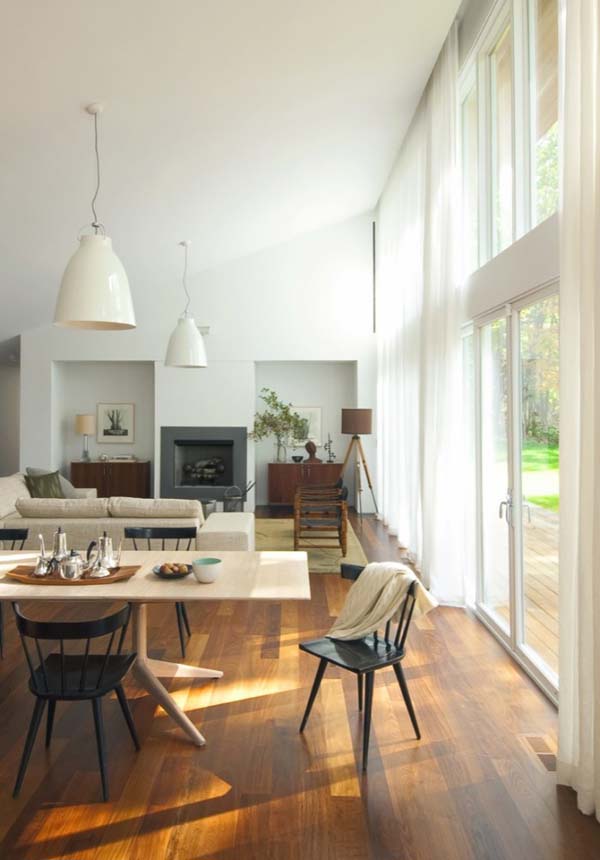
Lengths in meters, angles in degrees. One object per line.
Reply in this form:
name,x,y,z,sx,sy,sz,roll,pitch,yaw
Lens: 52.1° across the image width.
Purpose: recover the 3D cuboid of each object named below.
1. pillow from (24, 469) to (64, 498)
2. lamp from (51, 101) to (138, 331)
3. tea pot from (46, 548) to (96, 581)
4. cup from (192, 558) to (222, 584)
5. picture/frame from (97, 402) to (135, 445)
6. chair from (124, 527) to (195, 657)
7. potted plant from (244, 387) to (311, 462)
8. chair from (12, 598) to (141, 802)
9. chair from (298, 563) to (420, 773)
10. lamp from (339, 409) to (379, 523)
pillow,-2.686,0.623,6.502,0.092,0.344,0.292,-35,-30,29
lamp,-1.140,-1.235,3.537,0.312,1.574,2.114,0,0,-17
tea pot,-1.035,0.605,2.749,0.128,0.108,0.115,0,-5,2
cup,-0.405,0.624,2.725,0.092,0.090,0.112,2,2,9
picture/frame,-2.965,-0.085,9.913,0.549,0.747,0.037,0,2,-10
chair,-0.856,1.015,3.822,0.420,0.790,0.459,-3,1,-25
potted plant,-0.317,-0.184,9.855,0.880,1.538,1.110,3,-5,5
chair,-0.875,1.025,2.405,0.360,0.702,0.455,2,0,7
chair,0.266,1.025,2.697,0.443,0.729,0.465,3,2,31
lamp,0.848,0.470,8.425,0.486,1.279,2.201,0,0,5
